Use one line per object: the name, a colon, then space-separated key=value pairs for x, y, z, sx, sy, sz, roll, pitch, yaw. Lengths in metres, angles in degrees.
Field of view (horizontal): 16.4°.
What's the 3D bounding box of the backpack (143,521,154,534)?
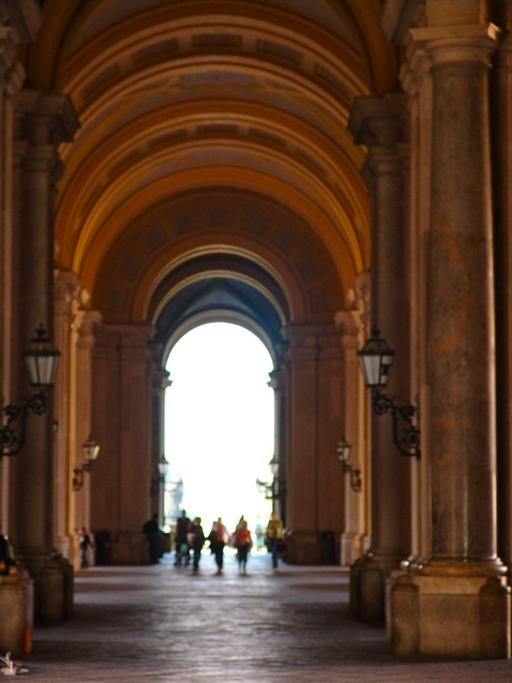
backpack: x=-2.246 y=3.828 z=36.635 sx=0.224 sy=0.250 sz=0.244 roll=1 pitch=2 yaw=-12
